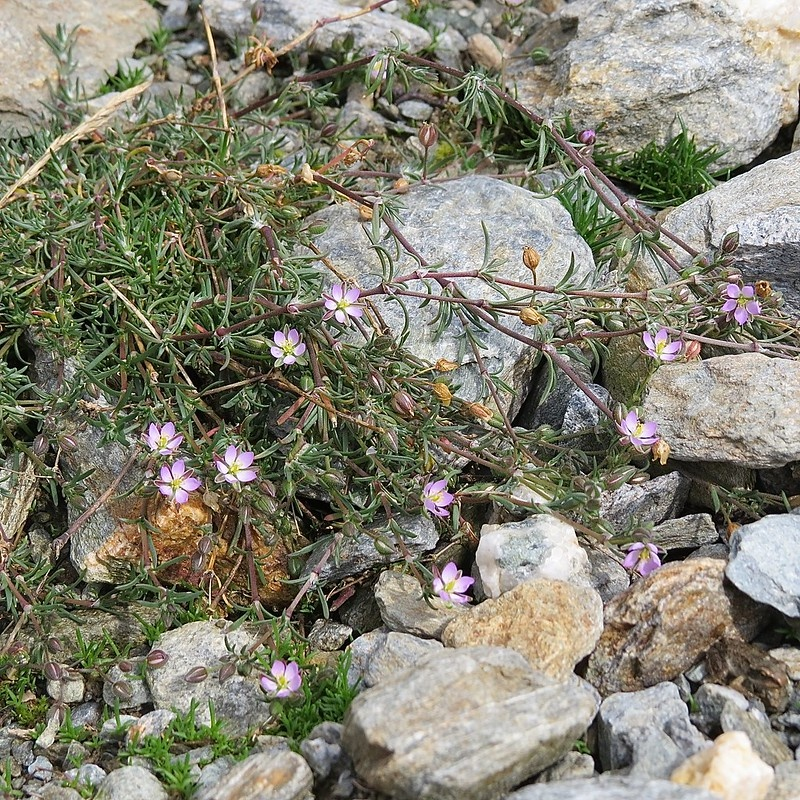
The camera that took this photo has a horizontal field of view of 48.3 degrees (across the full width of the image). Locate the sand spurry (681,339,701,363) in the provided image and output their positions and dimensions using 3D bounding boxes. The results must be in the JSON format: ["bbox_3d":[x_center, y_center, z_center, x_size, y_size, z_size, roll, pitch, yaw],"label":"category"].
[{"bbox_3d":[1.069,-0.164,3.239,0.031,0.073,0.096,15,97,-21],"label":"sand spurry"}]

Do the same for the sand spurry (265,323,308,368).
[{"bbox_3d":[-0.394,-0.207,3.124,0.110,0.059,0.153,5,74,-19],"label":"sand spurry"}]

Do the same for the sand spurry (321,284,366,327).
[{"bbox_3d":[-0.205,-0.345,3.157,0.135,0.067,0.148,31,80,-16],"label":"sand spurry"}]

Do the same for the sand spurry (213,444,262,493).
[{"bbox_3d":[-0.541,0.232,3.020,0.142,0.067,0.136,40,63,-4],"label":"sand spurry"}]

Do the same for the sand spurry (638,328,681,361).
[{"bbox_3d":[0.919,-0.175,3.162,0.107,0.062,0.139,-1,84,-5],"label":"sand spurry"}]

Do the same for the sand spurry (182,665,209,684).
[{"bbox_3d":[-0.674,0.898,2.932,0.078,0.030,0.055,-14,87,-34],"label":"sand spurry"}]

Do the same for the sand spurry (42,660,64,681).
[{"bbox_3d":[-1.137,0.898,2.948,0.053,0.024,0.070,-28,93,-35],"label":"sand spurry"}]

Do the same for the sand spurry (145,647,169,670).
[{"bbox_3d":[-0.819,0.873,3.013,0.026,0.065,0.058,-16,87,-60],"label":"sand spurry"}]

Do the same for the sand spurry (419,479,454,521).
[{"bbox_3d":[0.124,0.335,3.018,0.105,0.094,0.106,0,47,3],"label":"sand spurry"}]

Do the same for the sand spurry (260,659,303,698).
[{"bbox_3d":[-0.373,0.869,2.780,0.120,0.098,0.102,0,47,3],"label":"sand spurry"}]

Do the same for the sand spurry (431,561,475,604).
[{"bbox_3d":[0.175,0.614,2.972,0.130,0.088,0.156,18,62,-15],"label":"sand spurry"}]

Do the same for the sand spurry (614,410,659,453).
[{"bbox_3d":[0.810,0.112,3.076,0.140,0.073,0.156,5,62,-17],"label":"sand spurry"}]

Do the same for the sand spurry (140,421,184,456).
[{"bbox_3d":[-0.806,0.137,3.037,0.107,0.057,0.132,17,69,-23],"label":"sand spurry"}]

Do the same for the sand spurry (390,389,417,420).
[{"bbox_3d":[0.015,0.015,3.089,0.034,0.106,0.060,-2,44,14],"label":"sand spurry"}]
